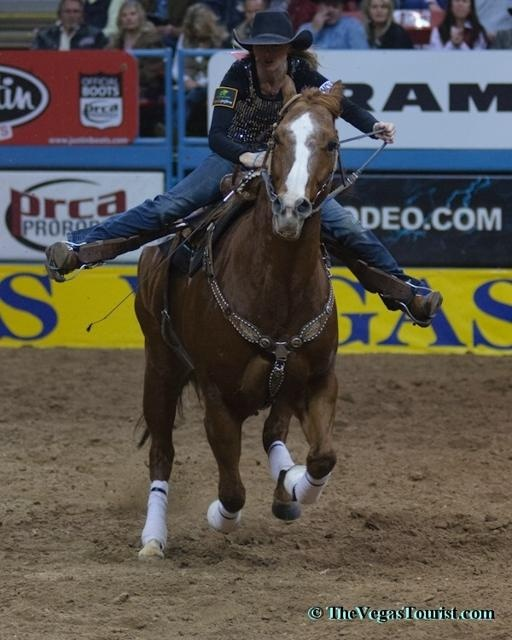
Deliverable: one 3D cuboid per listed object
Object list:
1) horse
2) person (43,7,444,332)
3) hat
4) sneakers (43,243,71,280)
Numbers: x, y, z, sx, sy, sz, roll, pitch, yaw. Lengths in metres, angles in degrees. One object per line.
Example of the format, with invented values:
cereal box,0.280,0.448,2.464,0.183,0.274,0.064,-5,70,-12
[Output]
horse,-0.119,0.097,5.700,0.753,2.464,1.568,-9,17,-31
person,0.038,-0.838,5.902,2.134,1.392,0.705,3,8,-18
hat,0.117,-1.442,5.830,0.391,0.140,0.405,2,6,3
sneakers,-0.995,-0.293,5.845,0.152,0.184,0.083,19,21,42
